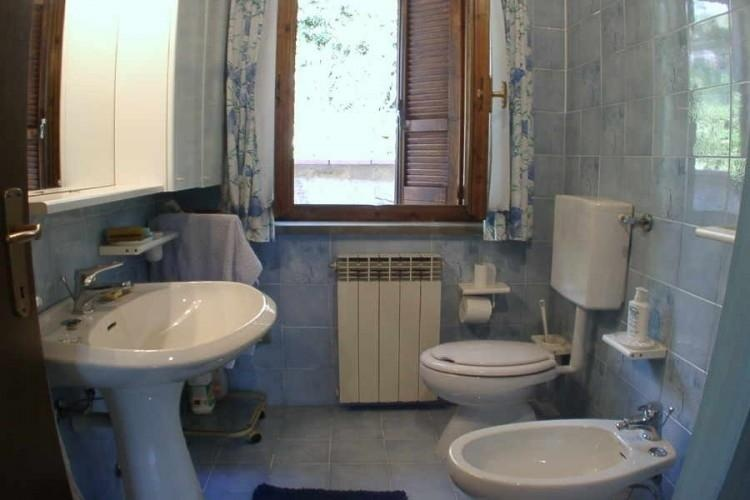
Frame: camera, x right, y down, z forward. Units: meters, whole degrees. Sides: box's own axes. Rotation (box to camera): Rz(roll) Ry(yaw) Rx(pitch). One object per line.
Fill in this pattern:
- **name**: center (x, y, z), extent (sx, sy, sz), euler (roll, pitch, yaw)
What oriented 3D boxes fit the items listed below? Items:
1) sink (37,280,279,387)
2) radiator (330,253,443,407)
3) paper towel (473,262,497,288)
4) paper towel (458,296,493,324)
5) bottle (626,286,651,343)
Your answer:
- **sink**: center (-0.710, 0.256, 1.891), extent (0.372, 0.128, 0.418), euler (1, 10, -10)
- **radiator**: center (0.066, 0.367, 3.205), extent (0.545, 0.717, 0.393), euler (2, 10, 8)
- **paper towel**: center (0.549, 0.125, 3.105), extent (0.107, 0.110, 0.107), euler (5, 7, 44)
- **paper towel**: center (0.519, 0.291, 3.065), extent (0.165, 0.148, 0.130), euler (4, 3, -26)
- **bottle**: center (1.032, 0.248, 2.381), extent (0.082, 0.194, 0.156), euler (5, 14, 23)
